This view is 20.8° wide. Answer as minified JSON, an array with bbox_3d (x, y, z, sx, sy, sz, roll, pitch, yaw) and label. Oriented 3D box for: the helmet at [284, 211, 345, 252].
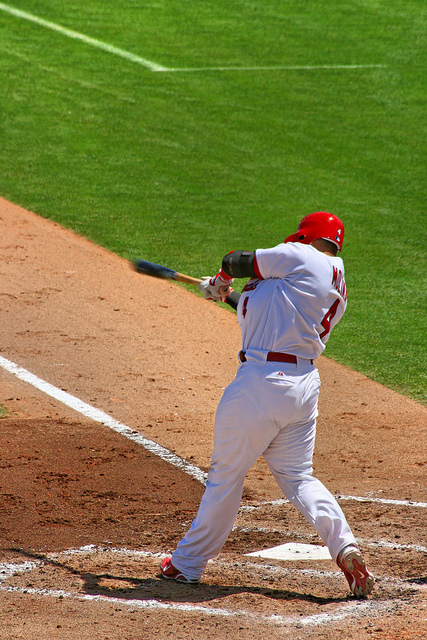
[{"bbox_3d":[0.590,-0.521,6.779,0.364,0.229,0.249,8,-1,23],"label":"helmet"}]
